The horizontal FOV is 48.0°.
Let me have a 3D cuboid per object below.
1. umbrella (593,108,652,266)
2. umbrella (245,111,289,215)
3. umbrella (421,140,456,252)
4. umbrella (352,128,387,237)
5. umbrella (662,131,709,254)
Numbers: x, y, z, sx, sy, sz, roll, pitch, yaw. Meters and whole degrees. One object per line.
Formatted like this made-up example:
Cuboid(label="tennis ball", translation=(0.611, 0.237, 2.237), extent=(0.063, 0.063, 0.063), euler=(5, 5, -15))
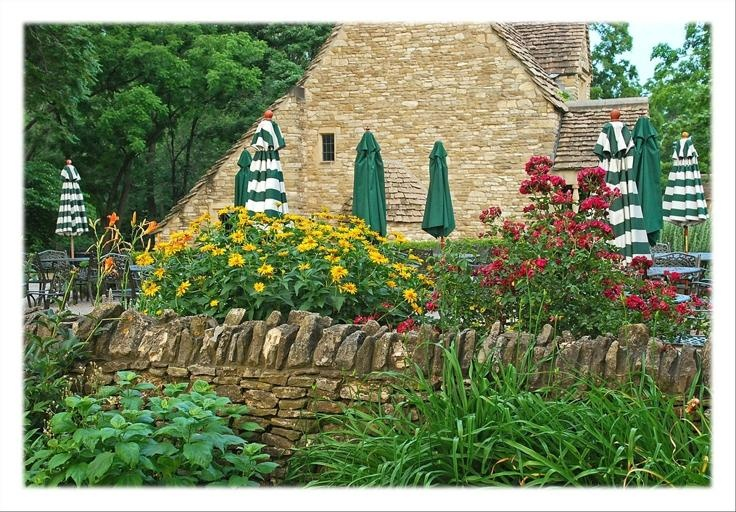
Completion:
Cuboid(label="umbrella", translation=(3.229, -0.852, 10.558), extent=(0.596, 1.953, 0.740), euler=(-1, 0, 11))
Cuboid(label="umbrella", translation=(-1.514, -1.412, 12.284), extent=(0.581, 1.499, 1.168), euler=(-1, 0, -7))
Cuboid(label="umbrella", translation=(1.119, -1.086, 13.198), extent=(0.506, 1.596, 1.338), euler=(-1, 0, 5))
Cuboid(label="umbrella", translation=(0.018, -1.173, 12.530), extent=(0.479, 1.596, 1.052), euler=(-1, 0, -1))
Cuboid(label="umbrella", translation=(5.778, -1.157, 14.980), extent=(0.690, 2.246, 1.004), euler=(-1, 0, -4))
